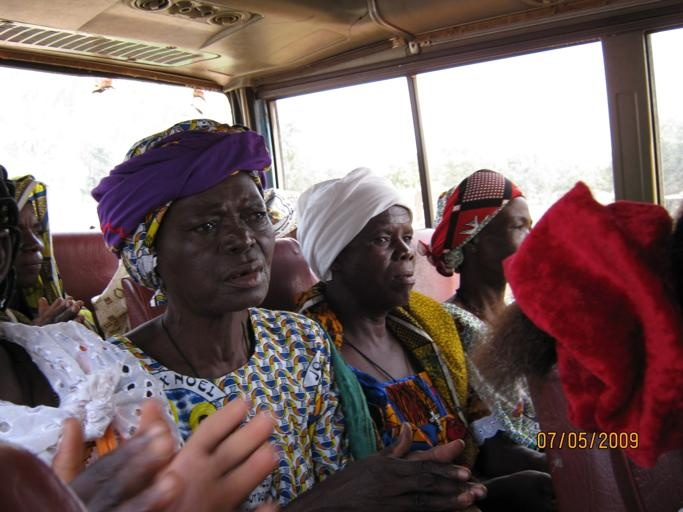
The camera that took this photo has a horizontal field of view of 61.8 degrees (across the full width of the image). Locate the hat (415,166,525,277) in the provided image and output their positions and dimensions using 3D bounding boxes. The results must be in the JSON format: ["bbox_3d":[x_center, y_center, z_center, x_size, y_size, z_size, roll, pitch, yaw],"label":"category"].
[{"bbox_3d":[0.635,-0.162,2.971,0.578,0.467,0.418,-19,-5,19],"label":"hat"}]
